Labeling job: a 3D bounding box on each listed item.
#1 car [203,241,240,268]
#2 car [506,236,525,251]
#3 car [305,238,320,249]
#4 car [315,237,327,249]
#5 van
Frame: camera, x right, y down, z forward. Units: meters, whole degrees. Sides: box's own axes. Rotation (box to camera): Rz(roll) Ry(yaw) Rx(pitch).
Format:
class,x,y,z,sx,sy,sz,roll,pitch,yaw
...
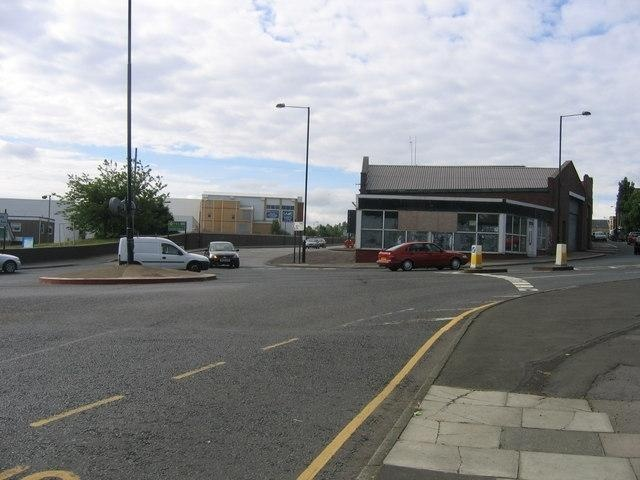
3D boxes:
class,x,y,z,sx,sy,sz,roll,pitch,yaw
car,-6.151,0.990,33.439,1.594,1.264,2.833,0,-4,-13
car,14.589,0.310,40.012,0.627,1.248,2.994,0,0,35
car,-1.015,0.622,73.175,1.326,1.065,2.869,-1,-2,5
car,-0.017,0.530,78.914,1.690,0.957,3.058,-1,-3,1
van,-7.467,0.714,25.448,3.220,1.643,1.927,-2,0,-15
